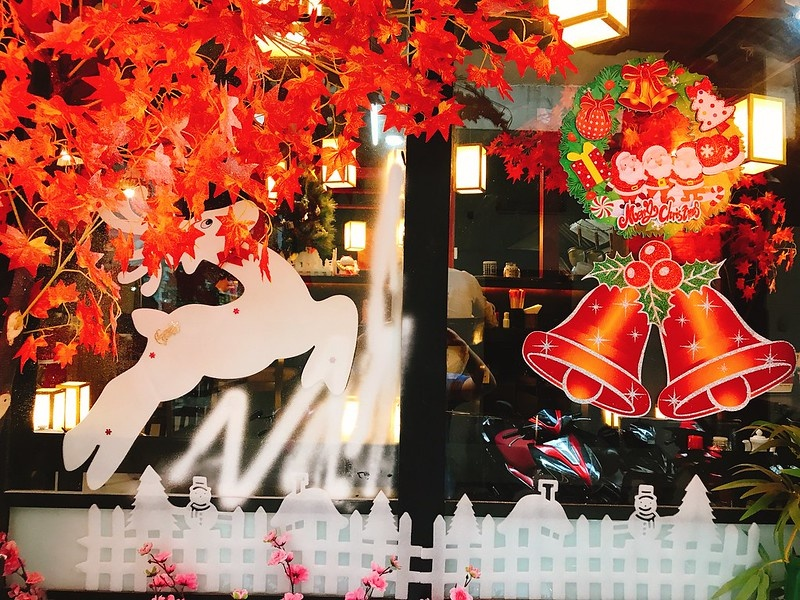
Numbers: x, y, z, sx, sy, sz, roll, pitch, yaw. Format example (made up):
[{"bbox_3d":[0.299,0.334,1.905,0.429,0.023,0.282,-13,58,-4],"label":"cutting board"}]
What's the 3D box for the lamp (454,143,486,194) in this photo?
[{"bbox_3d":[0.390,-0.718,5.392,0.176,0.271,0.208,1,-14,4],"label":"lamp"}]
